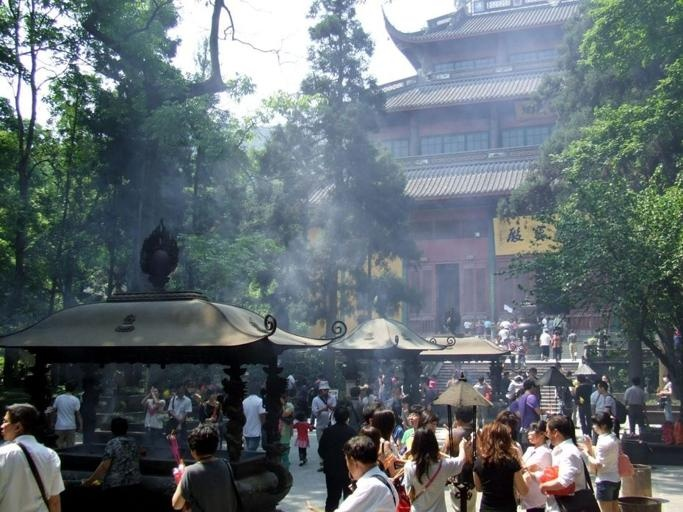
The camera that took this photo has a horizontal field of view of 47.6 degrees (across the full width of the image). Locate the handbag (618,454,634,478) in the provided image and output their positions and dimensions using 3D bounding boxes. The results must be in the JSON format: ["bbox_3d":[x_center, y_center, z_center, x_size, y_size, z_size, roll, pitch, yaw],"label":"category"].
[{"bbox_3d":[4.905,3.585,13.273,0.194,0.381,0.328,-3,-7,23],"label":"handbag"}]

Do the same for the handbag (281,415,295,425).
[{"bbox_3d":[-1.268,3.886,18.251,0.224,0.108,0.301,0,-1,0],"label":"handbag"}]
